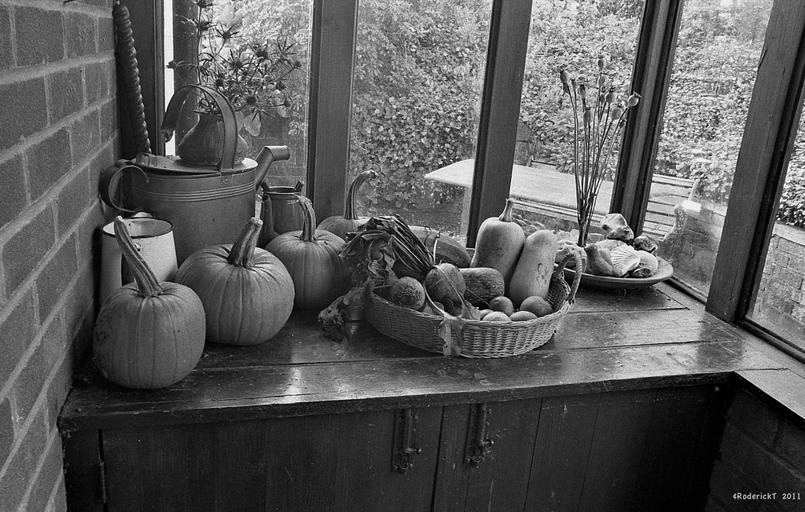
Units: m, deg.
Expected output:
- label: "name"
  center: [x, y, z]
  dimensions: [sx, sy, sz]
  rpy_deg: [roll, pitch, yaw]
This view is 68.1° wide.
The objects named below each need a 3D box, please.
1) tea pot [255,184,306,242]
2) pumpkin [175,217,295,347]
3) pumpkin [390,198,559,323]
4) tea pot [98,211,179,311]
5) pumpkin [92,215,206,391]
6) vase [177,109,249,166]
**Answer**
- label: "tea pot"
  center: [-0.438, -0.157, 2.145]
  dimensions: [0.139, 0.241, 0.240]
  rpy_deg: [7, 13, 26]
- label: "pumpkin"
  center: [-0.483, 0.085, 1.925]
  dimensions: [0.373, 0.386, 0.379]
  rpy_deg: [3, 17, -46]
- label: "pumpkin"
  center: [0.232, 0.020, 2.020]
  dimensions: [0.403, 0.350, 0.158]
  rpy_deg: [15, -3, -17]
- label: "tea pot"
  center: [-0.783, 0.014, 1.787]
  dimensions: [0.218, 0.244, 0.286]
  rpy_deg: [0, 15, -8]
- label: "pumpkin"
  center: [-0.677, 0.122, 1.577]
  dimensions: [0.273, 0.449, 0.152]
  rpy_deg: [-4, 23, -22]
- label: "vase"
  center: [-0.623, -0.386, 1.974]
  dimensions: [0.229, 0.171, 0.193]
  rpy_deg: [-3, 23, -20]
